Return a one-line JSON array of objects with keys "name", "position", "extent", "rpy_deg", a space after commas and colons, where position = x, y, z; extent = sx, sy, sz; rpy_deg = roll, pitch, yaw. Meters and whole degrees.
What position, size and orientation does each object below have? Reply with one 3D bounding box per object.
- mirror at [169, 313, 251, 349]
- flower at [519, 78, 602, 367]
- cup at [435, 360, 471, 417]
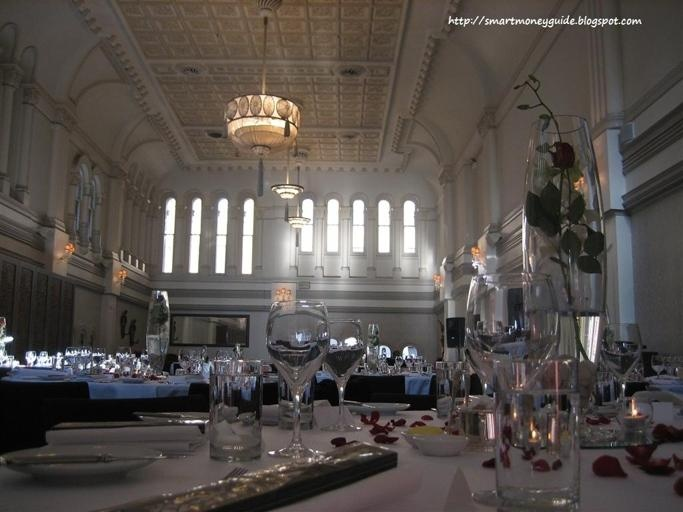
[{"name": "mirror", "position": [-4.059, 2.302, 16.574], "extent": [2.484, 1.035, 0.360], "rpy_deg": [-1, -15, 0]}, {"name": "flower", "position": [0.500, -0.055, 1.180], "extent": [0.163, 0.628, 0.161], "rpy_deg": [-6, 12, 12]}, {"name": "cup", "position": [0.261, 0.313, 1.241], "extent": [0.076, 0.135, 0.080], "rpy_deg": [4, -7, 0]}]
